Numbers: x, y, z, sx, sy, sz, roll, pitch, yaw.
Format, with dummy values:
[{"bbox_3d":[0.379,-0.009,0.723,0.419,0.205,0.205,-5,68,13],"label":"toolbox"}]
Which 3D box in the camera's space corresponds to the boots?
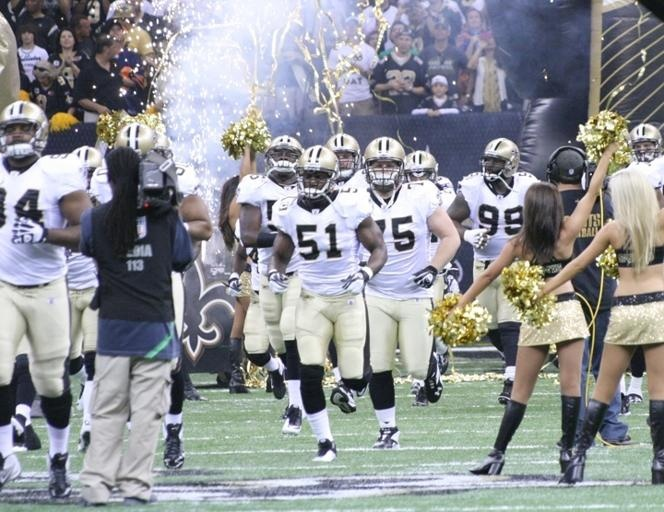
[{"bbox_3d":[1.479,1.117,7.005,1.028,0.485,0.312,-1,1,13],"label":"boots"}]
